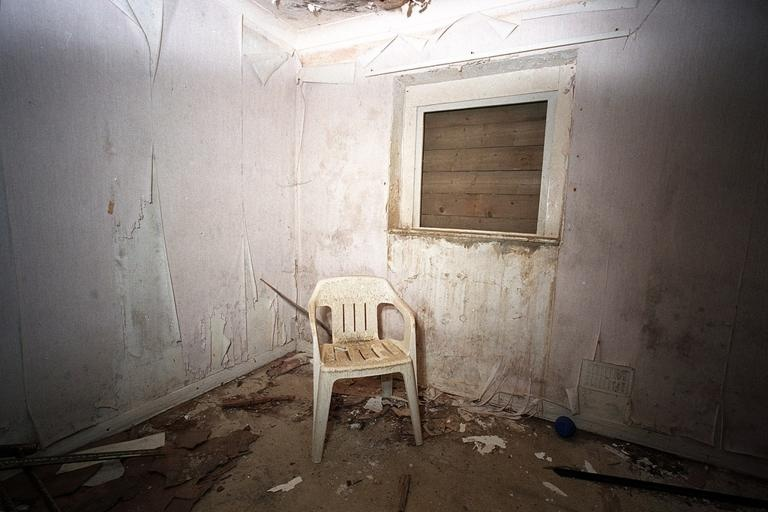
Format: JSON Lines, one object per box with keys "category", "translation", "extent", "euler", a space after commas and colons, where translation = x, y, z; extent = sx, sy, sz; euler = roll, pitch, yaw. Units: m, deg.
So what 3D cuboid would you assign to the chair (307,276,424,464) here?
{"category": "chair", "translation": [-0.201, 0.793, 3.835], "extent": [0.813, 1.114, 0.779], "euler": [-4, 11, -17]}
